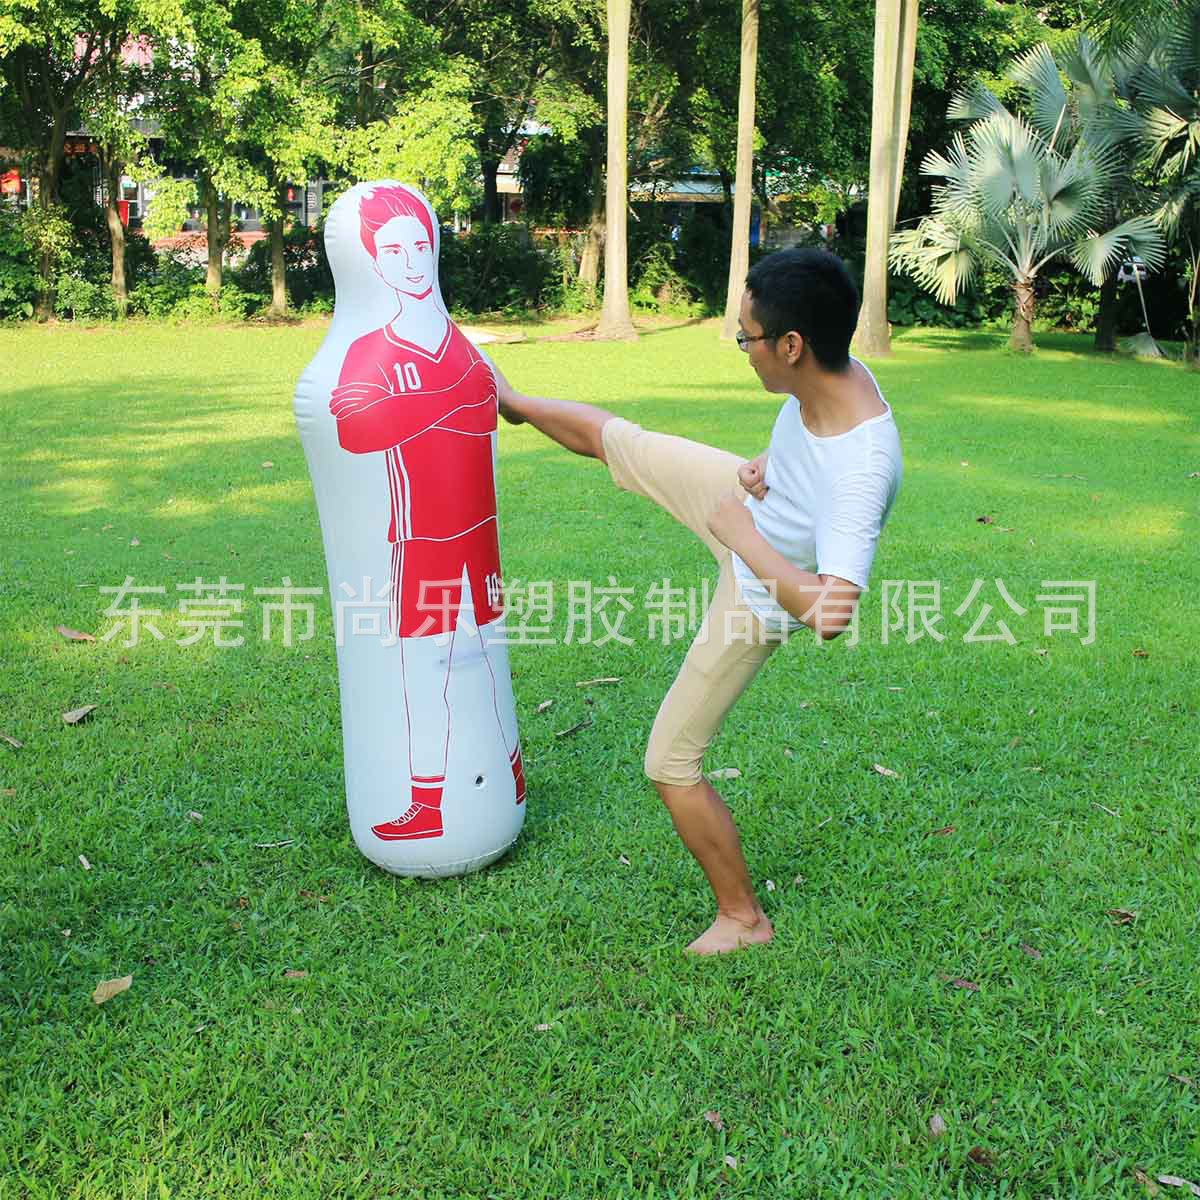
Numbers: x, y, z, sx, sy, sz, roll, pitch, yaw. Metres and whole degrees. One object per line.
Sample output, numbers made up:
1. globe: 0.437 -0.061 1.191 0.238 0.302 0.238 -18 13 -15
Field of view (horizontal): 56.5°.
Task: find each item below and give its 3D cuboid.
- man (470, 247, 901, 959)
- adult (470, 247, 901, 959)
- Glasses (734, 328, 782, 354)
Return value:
1. man: 0.223 -0.160 3.184 0.527 1.788 1.847 -8 28 -28
2. adult: 0.244 -0.117 3.190 0.536 1.814 1.873 -5 24 -25
3. Glasses: 0.341 -0.574 2.459 0.110 0.037 0.108 0 9 -3
